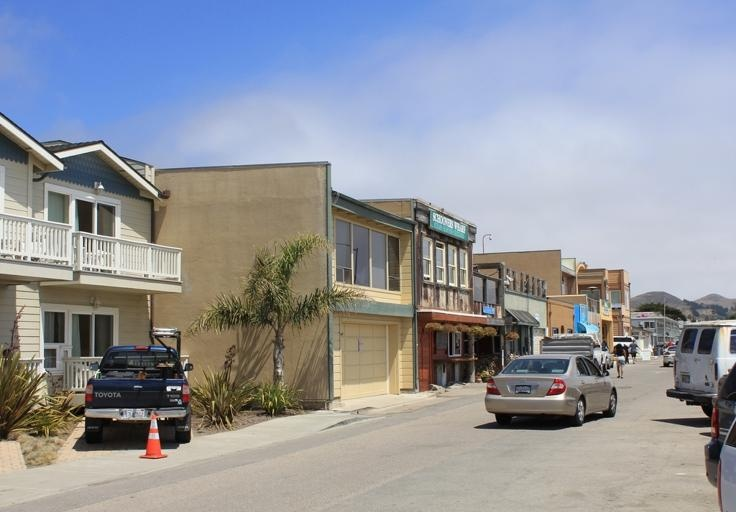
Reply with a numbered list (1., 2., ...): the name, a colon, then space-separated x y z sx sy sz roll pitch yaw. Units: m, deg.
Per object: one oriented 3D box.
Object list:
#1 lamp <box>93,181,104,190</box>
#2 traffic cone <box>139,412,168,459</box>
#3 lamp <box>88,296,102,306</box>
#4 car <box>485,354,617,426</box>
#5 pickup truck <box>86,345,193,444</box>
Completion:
1. lamp: -9.057 -2.385 27.256 0.293 0.307 0.259 -9 -12 37
2. traffic cone: -4.913 4.268 18.800 0.722 0.900 0.731 -9 -10 -29
3. lamp: -9.069 1.487 26.884 0.272 0.382 0.280 -7 -9 34
4. car: 5.169 3.667 22.275 3.684 1.931 1.808 9 -14 -39
5. pickup truck: -5.736 3.282 20.024 1.729 1.575 3.346 0 -1 -3
